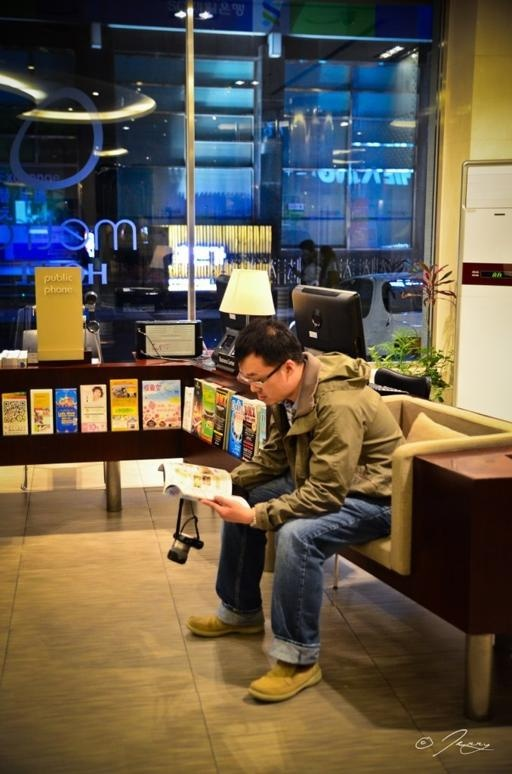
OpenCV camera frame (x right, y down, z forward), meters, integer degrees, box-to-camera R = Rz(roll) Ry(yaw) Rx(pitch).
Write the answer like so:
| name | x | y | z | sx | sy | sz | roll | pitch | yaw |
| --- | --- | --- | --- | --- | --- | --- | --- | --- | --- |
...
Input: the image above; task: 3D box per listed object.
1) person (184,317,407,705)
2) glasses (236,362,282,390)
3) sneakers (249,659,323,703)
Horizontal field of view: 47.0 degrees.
| name | x | y | z | sx | sy | sz | roll | pitch | yaw |
| --- | --- | --- | --- | --- | --- | --- | --- | --- | --- |
| person | 0.128 | 0.357 | 1.912 | 0.676 | 1.072 | 0.647 | 0 | 1 | 0 |
| glasses | 0.014 | -0.035 | 1.874 | 0.086 | 0.025 | 0.082 | -43 | 21 | -23 |
| sneakers | 0.092 | 0.859 | 1.784 | 0.219 | 0.105 | 0.080 | -2 | -2 | -36 |
